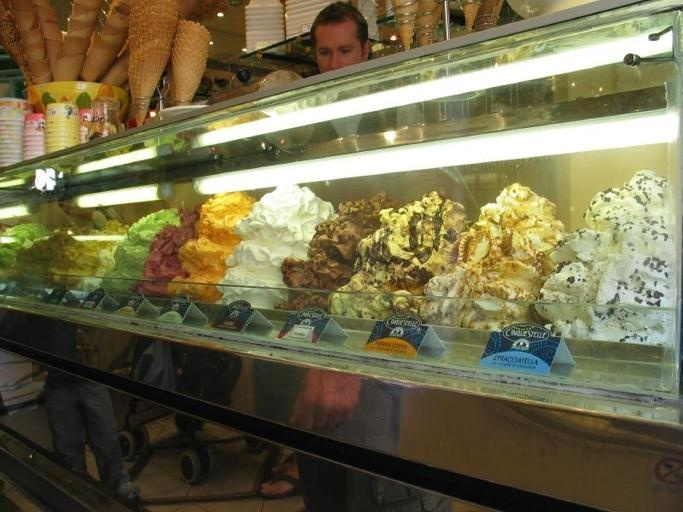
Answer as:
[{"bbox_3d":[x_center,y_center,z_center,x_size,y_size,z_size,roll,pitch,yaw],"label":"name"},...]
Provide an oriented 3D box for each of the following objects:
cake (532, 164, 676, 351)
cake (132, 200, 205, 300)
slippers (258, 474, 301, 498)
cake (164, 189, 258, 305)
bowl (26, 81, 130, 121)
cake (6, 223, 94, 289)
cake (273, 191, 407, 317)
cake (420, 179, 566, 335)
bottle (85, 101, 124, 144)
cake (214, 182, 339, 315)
[{"bbox_3d":[0.503,-0.013,0.921,0.218,0.293,0.294,5,12,31],"label":"cake"},{"bbox_3d":[-0.583,-0.011,1.649,0.211,0.289,0.099,1,-17,23],"label":"cake"},{"bbox_3d":[-0.125,0.517,1.103,0.130,0.041,0.044,-3,23,12],"label":"slippers"},{"bbox_3d":[-0.389,-0.022,1.595,0.242,0.359,0.147,19,-6,44],"label":"cake"},{"bbox_3d":[-1.434,-0.858,2.605,0.435,0.150,0.427,0,1,0],"label":"bowl"},{"bbox_3d":[-1.232,-0.009,2.124,0.387,0.150,0.207,7,9,-8],"label":"cake"},{"bbox_3d":[-0.019,-0.015,1.319,0.145,0.221,0.346,22,61,24],"label":"cake"},{"bbox_3d":[0.340,0.008,1.077,0.269,0.170,0.417,11,51,22],"label":"cake"},{"bbox_3d":[-0.992,-0.575,2.077,0.178,0.171,0.167,4,15,-1],"label":"bottle"},{"bbox_3d":[-0.198,-0.013,1.456,0.295,0.373,0.146,19,-2,38],"label":"cake"}]
